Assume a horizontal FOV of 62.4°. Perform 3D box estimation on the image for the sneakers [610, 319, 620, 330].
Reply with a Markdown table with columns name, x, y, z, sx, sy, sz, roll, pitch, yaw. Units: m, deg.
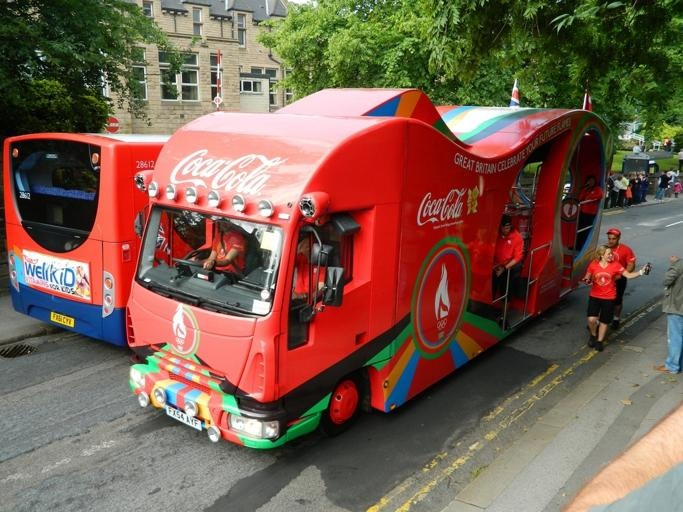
| name | x | y | z | sx | sy | sz | roll | pitch | yaw |
| --- | --- | --- | --- | --- | --- | --- | --- | --- | --- |
| sneakers | 5.496 | 1.363 | 11.263 | 0.128 | 0.166 | 0.360 | 1 | 11 | 37 |

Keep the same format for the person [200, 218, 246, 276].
| name | x | y | z | sx | sy | sz | roll | pitch | yaw |
| --- | --- | --- | --- | --- | --- | --- | --- | --- | --- |
| person | -1.447 | -0.135 | 6.805 | 0.443 | 0.780 | 0.410 | 9 | 12 | 31 |

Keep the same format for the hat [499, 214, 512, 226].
| name | x | y | z | sx | sy | sz | roll | pitch | yaw |
| --- | --- | --- | --- | --- | --- | --- | --- | --- | --- |
| hat | 2.902 | -0.628 | 9.946 | 0.219 | 0.225 | 0.172 | 8 | -3 | -6 |

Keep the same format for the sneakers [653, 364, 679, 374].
| name | x | y | z | sx | sy | sz | roll | pitch | yaw |
| --- | --- | --- | --- | --- | --- | --- | --- | --- | --- |
| sneakers | 5.190 | 1.798 | 8.999 | 0.108 | 0.127 | 0.276 | -19 | 15 | -37 |
